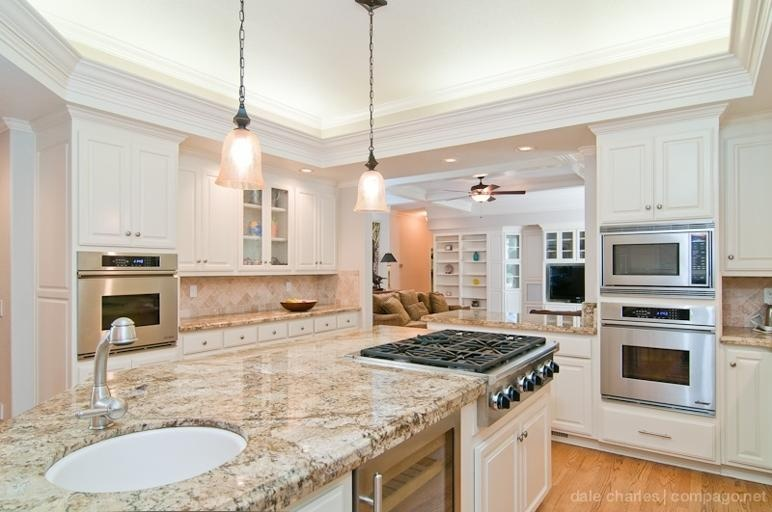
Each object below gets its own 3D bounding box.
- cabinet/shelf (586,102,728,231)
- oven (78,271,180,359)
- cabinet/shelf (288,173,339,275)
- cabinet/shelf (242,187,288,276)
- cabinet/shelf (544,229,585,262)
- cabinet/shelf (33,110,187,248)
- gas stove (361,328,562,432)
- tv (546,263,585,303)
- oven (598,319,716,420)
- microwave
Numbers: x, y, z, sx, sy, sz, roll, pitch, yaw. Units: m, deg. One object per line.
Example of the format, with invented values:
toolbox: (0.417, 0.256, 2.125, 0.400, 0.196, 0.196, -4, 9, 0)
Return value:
cabinet/shelf: (2.352, -0.775, 4.072, 1.272, 1.053, 0.524, -1, -3, 33)
oven: (-2.144, 0.515, 4.420, 1.117, 0.806, 0.588, -4, -7, 15)
cabinet/shelf: (-0.926, -0.341, 6.187, 0.265, 1.175, 0.953, 7, 15, 28)
cabinet/shelf: (-1.395, -0.320, 5.630, 0.255, 0.926, 0.830, 8, 15, 30)
cabinet/shelf: (3.958, -0.246, 10.535, 0.796, 0.591, 0.257, -3, -4, 42)
cabinet/shelf: (-2.401, -0.482, 4.844, 1.123, 1.613, 1.469, -1, -3, 32)
gas stove: (0.531, 0.768, 3.348, 1.039, 0.319, 1.177, 2, 2, 36)
tv: (4.045, 0.585, 10.705, 0.967, 0.757, 0.134, 5, 9, 41)
oven: (2.332, 0.896, 4.320, 1.220, 0.900, 0.645, -2, -6, 32)
microwave: (2.315, 0.052, 4.101, 0.848, 0.481, 0.473, -1, -3, 32)
